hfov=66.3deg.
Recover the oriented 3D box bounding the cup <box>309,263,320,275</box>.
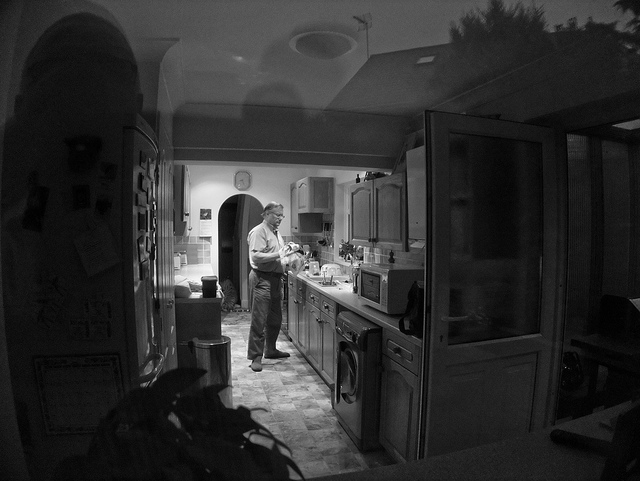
[{"bbox_3d":[-0.054,0.257,4.469,0.095,0.173,0.093,-1,-5,0],"label":"cup"}]

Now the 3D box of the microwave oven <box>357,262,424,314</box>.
[{"bbox_3d":[0.308,0.204,2.231,0.226,0.164,0.311,2,-2,-11],"label":"microwave oven"}]

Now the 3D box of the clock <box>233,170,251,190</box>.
[{"bbox_3d":[-0.208,-0.163,1.309,0.058,0.059,0.005,4,28,9],"label":"clock"}]
